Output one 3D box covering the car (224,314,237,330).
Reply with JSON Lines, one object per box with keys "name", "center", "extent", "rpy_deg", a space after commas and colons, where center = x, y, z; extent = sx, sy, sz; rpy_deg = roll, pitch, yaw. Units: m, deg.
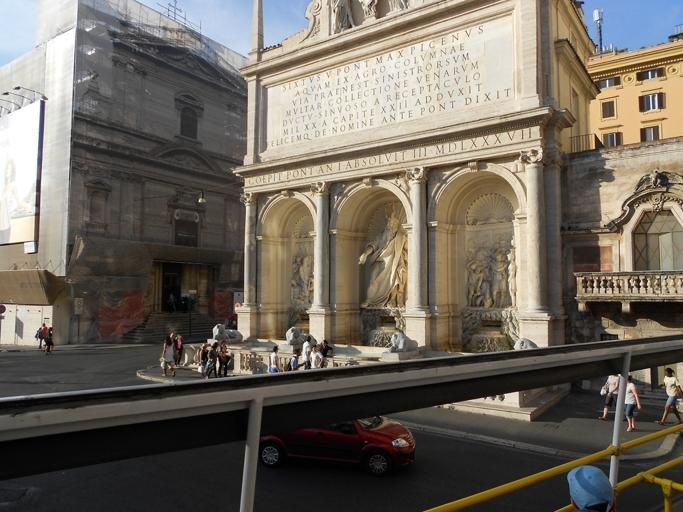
{"name": "car", "center": [-8.477, 5.230, 50.107], "extent": [0.863, 1.622, 1.634], "rpy_deg": [0, -6, -11]}
